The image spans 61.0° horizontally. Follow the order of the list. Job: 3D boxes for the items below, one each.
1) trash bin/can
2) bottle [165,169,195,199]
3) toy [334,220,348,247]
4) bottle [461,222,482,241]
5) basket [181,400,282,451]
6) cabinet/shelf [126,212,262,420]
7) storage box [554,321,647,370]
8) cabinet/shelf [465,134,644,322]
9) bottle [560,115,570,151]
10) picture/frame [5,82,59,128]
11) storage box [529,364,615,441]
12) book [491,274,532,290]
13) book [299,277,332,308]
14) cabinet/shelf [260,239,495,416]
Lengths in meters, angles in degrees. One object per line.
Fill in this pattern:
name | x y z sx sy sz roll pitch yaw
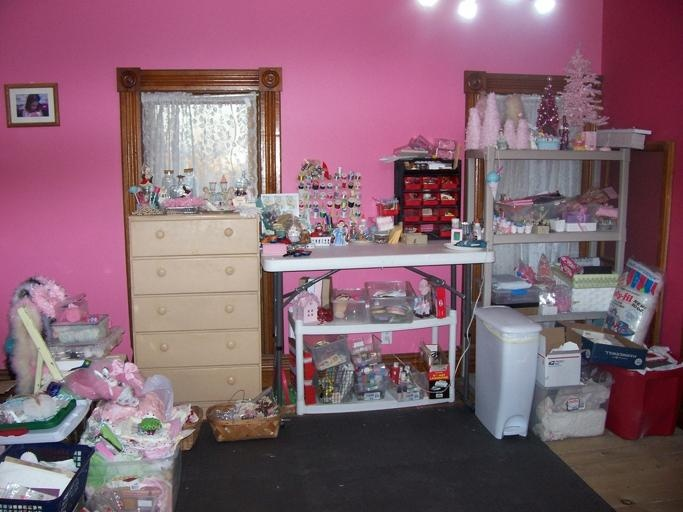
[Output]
trash bin/can | 1.273 0.910 4.559 0.343 0.930 0.518 -6 11 -16
bottle | -1.385 -0.609 4.904 0.181 0.326 0.217 -10 18 -41
toy | -0.024 -0.168 5.002 0.146 0.241 0.169 -1 4 -2
bottle | 1.115 -0.203 4.951 0.178 0.204 0.111 2 9 19
basket | -0.811 1.308 4.452 0.552 0.124 0.342 1 8 -10
cabinet/shelf | -1.229 0.405 4.893 0.920 1.590 0.534 0 17 -13
storage box | 2.042 0.703 4.669 0.588 0.184 0.446 -17 -37 38
cabinet/shelf | 1.841 -0.238 5.009 1.420 1.870 0.620 -1 12 -4
bottle | 1.914 -1.060 4.975 0.073 0.287 0.316 2 12 20
picture/frame | -2.660 -1.301 4.929 0.337 0.323 0.034 -1 7 -7
storage box | 1.783 1.152 4.537 0.579 0.433 0.430 -1 0 -4
book | 1.463 0.241 5.077 0.295 0.083 0.303 -13 15 -42
book | -0.216 0.305 4.988 0.292 0.325 0.230 0 3 2
cabinet/shelf | 0.256 0.608 4.866 1.204 0.974 0.494 -3 22 -7
